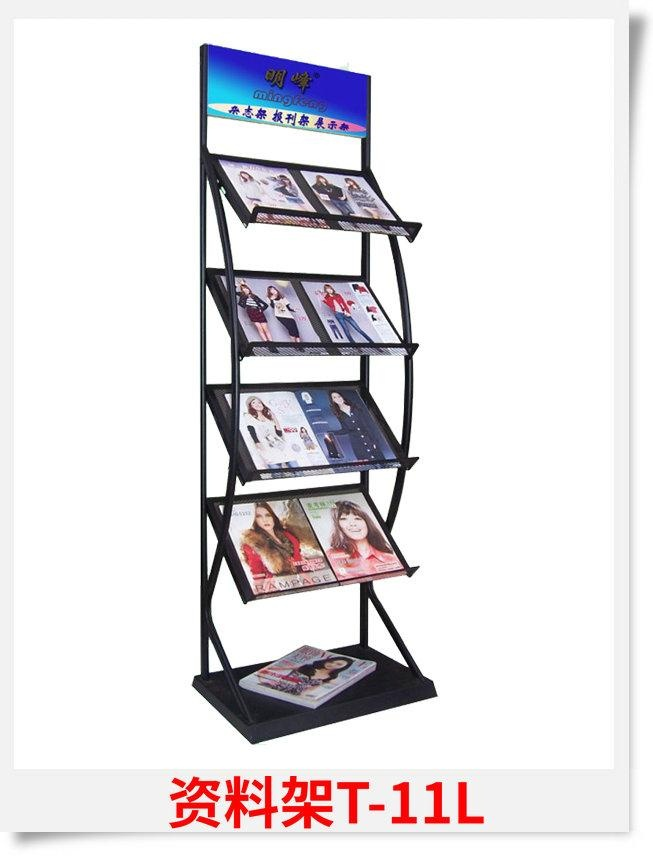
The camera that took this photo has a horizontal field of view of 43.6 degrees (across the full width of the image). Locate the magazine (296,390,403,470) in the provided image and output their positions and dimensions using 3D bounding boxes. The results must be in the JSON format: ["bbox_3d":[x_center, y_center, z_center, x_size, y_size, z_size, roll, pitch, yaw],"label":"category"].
[{"bbox_3d":[0.053,0.024,2.693,0.311,0.343,0.018,-6,-35,-35],"label":"magazine"}]

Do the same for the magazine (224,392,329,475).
[{"bbox_3d":[-0.165,0.025,2.582,0.317,0.314,0.017,-2,-36,-37],"label":"magazine"}]

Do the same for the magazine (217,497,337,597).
[{"bbox_3d":[-0.176,0.378,2.657,0.345,0.322,0.237,2,-8,-35],"label":"magazine"}]
